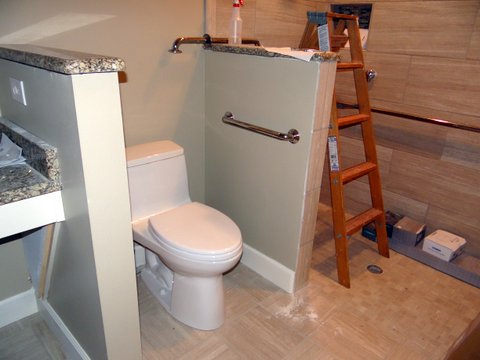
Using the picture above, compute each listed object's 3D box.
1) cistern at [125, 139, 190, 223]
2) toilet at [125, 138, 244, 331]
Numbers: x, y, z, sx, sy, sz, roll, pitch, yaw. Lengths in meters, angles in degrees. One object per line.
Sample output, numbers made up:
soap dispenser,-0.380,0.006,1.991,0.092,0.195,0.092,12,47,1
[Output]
cistern,-0.522,0.012,2.151,0.419,0.372,0.237,-16,23,-39
toilet,-0.356,0.339,2.157,0.525,0.982,0.875,-18,28,-41
